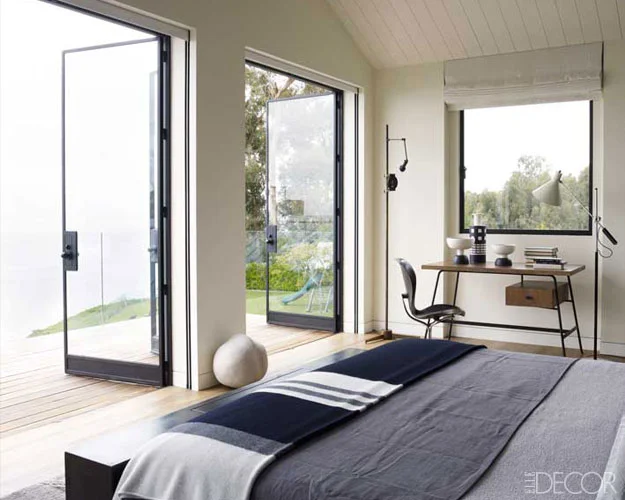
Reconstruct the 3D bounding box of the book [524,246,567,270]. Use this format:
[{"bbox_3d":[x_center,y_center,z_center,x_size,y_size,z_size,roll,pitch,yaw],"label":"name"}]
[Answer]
[{"bbox_3d":[2.170,0.075,4.309,0.336,0.202,0.367,-1,1,14],"label":"book"}]
